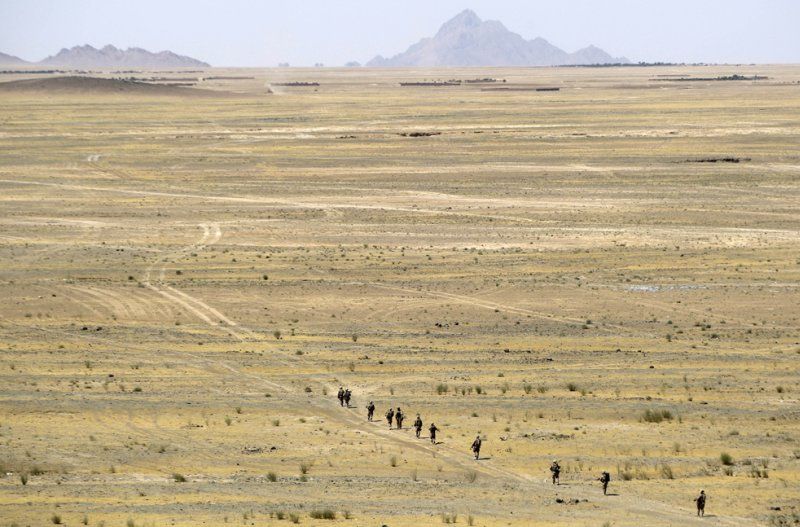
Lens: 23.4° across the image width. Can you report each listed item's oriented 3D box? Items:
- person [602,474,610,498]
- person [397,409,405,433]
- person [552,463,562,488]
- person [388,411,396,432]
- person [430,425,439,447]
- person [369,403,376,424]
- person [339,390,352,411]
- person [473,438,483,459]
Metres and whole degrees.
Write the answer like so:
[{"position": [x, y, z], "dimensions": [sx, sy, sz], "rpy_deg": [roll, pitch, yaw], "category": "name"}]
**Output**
[{"position": [15.384, 16.669, 144.332], "dimensions": [0.603, 1.742, 1.050], "rpy_deg": [3, -5, 6], "category": "person"}, {"position": [-0.065, 12.199, 148.901], "dimensions": [0.614, 1.672, 1.464], "rpy_deg": [4, -4, 2], "category": "person"}, {"position": [11.709, 15.974, 145.081], "dimensions": [0.764, 1.781, 1.169], "rpy_deg": [3, -5, 6], "category": "person"}, {"position": [-0.820, 12.160, 148.929], "dimensions": [0.559, 1.498, 1.130], "rpy_deg": [4, -5, 2], "category": "person"}, {"position": [2.527, 13.243, 147.782], "dimensions": [0.670, 1.637, 1.521], "rpy_deg": [3, -4, 3], "category": "person"}, {"position": [-2.310, 11.693, 149.428], "dimensions": [0.522, 1.449, 0.987], "rpy_deg": [4, -5, 1], "category": "person"}, {"position": [-4.353, 10.687, 150.533], "dimensions": [0.998, 1.456, 0.951], "rpy_deg": [3, -5, -2], "category": "person"}, {"position": [5.814, 14.215, 146.707], "dimensions": [0.708, 1.748, 1.377], "rpy_deg": [3, -4, 4], "category": "person"}]
